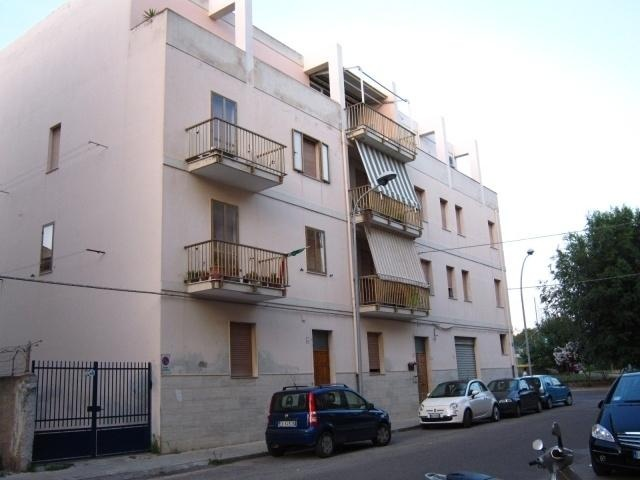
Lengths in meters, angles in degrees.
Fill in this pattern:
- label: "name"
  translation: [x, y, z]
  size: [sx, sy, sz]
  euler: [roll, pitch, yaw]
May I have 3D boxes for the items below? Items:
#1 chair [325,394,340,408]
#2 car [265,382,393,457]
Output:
- label: "chair"
  translation: [0.378, 4.755, 14.984]
  size: [0.538, 0.406, 0.687]
  euler: [7, -10, 9]
- label: "car"
  translation: [0.247, 5.362, 15.525]
  size: [1.934, 1.802, 3.324]
  euler: [-11, -11, 42]
